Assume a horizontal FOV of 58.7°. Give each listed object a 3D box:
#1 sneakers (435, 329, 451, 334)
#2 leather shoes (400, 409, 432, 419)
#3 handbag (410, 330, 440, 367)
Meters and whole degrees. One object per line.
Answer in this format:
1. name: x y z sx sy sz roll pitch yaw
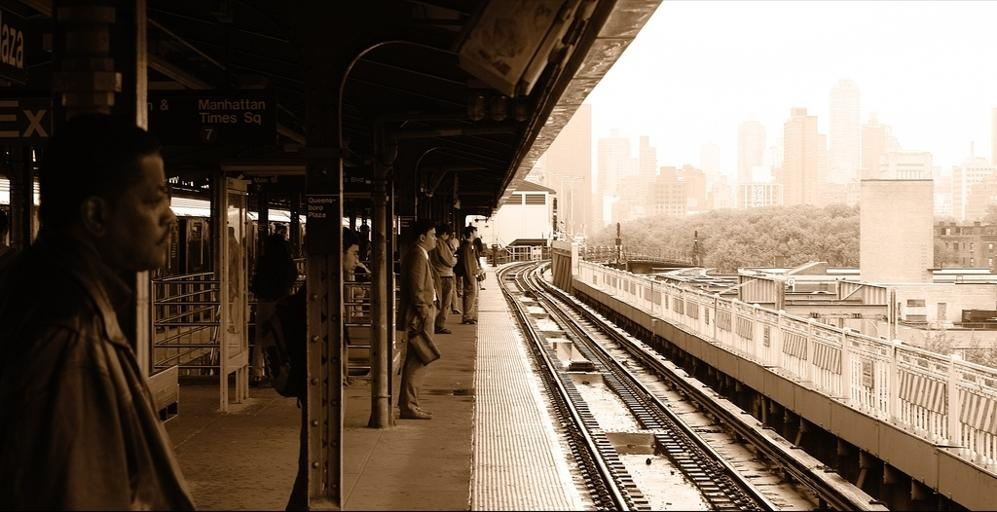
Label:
1. sneakers: -1.433 2.003 23.352 0.466 0.171 0.147 -2 2 -3
2. leather shoes: -1.382 2.663 14.787 0.410 0.140 0.200 -1 -3 -1
3. handbag: -1.138 1.503 14.358 0.223 0.532 0.525 -29 -17 -42
